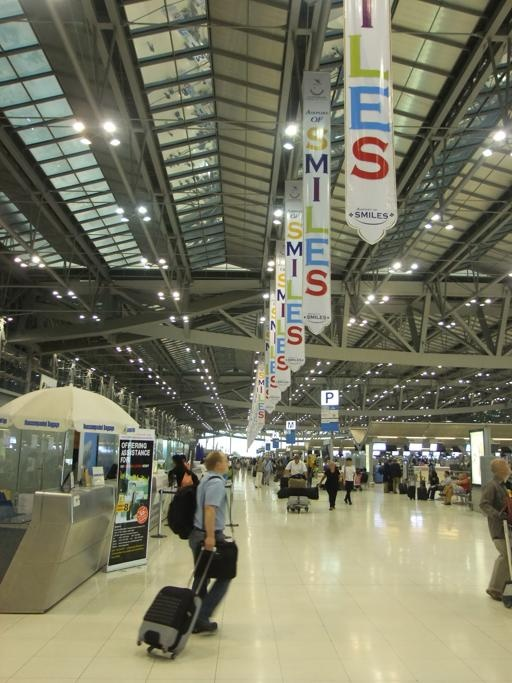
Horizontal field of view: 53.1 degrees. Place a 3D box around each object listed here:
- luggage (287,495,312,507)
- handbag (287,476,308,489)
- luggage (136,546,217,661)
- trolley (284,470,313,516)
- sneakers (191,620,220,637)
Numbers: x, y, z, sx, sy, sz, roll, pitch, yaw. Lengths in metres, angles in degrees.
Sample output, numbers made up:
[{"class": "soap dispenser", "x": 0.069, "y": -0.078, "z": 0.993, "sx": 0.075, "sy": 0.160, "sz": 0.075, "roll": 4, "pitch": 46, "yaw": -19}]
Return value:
[{"class": "luggage", "x": 1.173, "y": 4.500, "z": 14.439, "sx": 0.409, "sy": 0.148, "sz": 0.411, "roll": 0, "pitch": -4, "yaw": 9}, {"class": "handbag", "x": 1.166, "y": 4.048, "z": 14.757, "sx": 0.299, "sy": 0.354, "sz": 0.391, "roll": 3, "pitch": -7, "yaw": -43}, {"class": "luggage", "x": -0.580, "y": 1.852, "z": 3.754, "sx": 0.280, "sy": 0.766, "sz": 0.234, "roll": -3, "pitch": -38, "yaw": 32}, {"class": "trolley", "x": 1.209, "y": 4.420, "z": 14.925, "sx": 0.761, "sy": 1.147, "sz": 1.081, "roll": 1, "pitch": -24, "yaw": 1}, {"class": "sneakers", "x": -0.406, "y": 2.305, "z": 4.115, "sx": 0.261, "sy": 0.100, "sz": 0.088, "roll": 2, "pitch": -22, "yaw": -4}]
